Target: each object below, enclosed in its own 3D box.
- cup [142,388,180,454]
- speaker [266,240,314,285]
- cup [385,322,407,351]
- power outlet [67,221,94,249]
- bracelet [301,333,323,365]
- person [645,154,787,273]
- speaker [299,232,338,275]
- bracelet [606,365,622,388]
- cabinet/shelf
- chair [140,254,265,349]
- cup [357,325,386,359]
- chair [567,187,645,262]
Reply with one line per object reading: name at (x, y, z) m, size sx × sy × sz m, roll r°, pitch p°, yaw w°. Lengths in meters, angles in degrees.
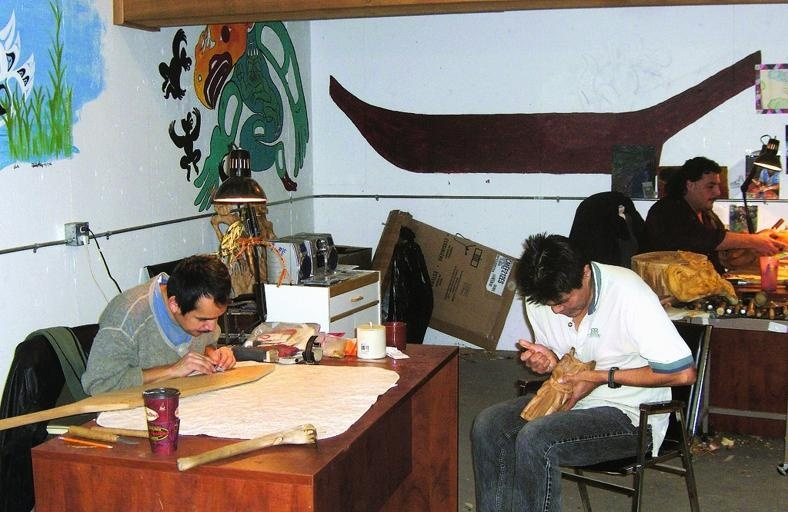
cup at (-0.940, 0.677, 2.674) m, size 0.174 × 0.253 × 0.175 m, roll -2°, pitch 0°, yaw 0°
speaker at (-0.786, 0.041, 4.859) m, size 0.323 × 0.304 × 0.361 m, roll -2°, pitch 9°, yaw -10°
cup at (0.007, 0.457, 3.677) m, size 0.137 × 0.150 × 0.139 m, roll 0°, pitch 0°, yaw 0°
power outlet at (-1.951, -0.130, 4.080) m, size 0.122 × 0.167 × 0.171 m, roll 3°, pitch 4°, yaw 22°
bracelet at (-0.442, 0.506, 3.489) m, size 0.056 × 0.112 × 0.105 m, roll 0°, pitch 33°, yaw 15°
person at (2.987, -0.488, 6.554) m, size 1.275 × 1.342 × 0.897 m, roll 2°, pitch 18°, yaw 16°
speaker at (-0.563, -0.010, 4.912) m, size 0.275 × 0.281 × 0.211 m, roll 0°, pitch 15°, yaw 22°
bracelet at (1.116, 0.629, 3.347) m, size 0.064 × 0.099 × 0.098 m, roll -2°, pitch 0°, yaw 31°
cabinet/shelf at (-0.504, 0.394, 4.930) m, size 0.739 × 0.501 × 0.425 m, roll 5°, pitch -5°, yaw -44°
chair at (-1.286, 0.379, 4.767) m, size 0.671 × 0.520 × 0.696 m, roll 1°, pitch 8°, yaw 7°
cup at (-0.122, 0.467, 3.591) m, size 0.166 × 0.183 × 0.166 m, roll 0°, pitch 5°, yaw 0°
chair at (2.071, -0.260, 6.175) m, size 0.525 × 0.616 × 0.534 m, roll -31°, pitch 21°, yaw -12°
